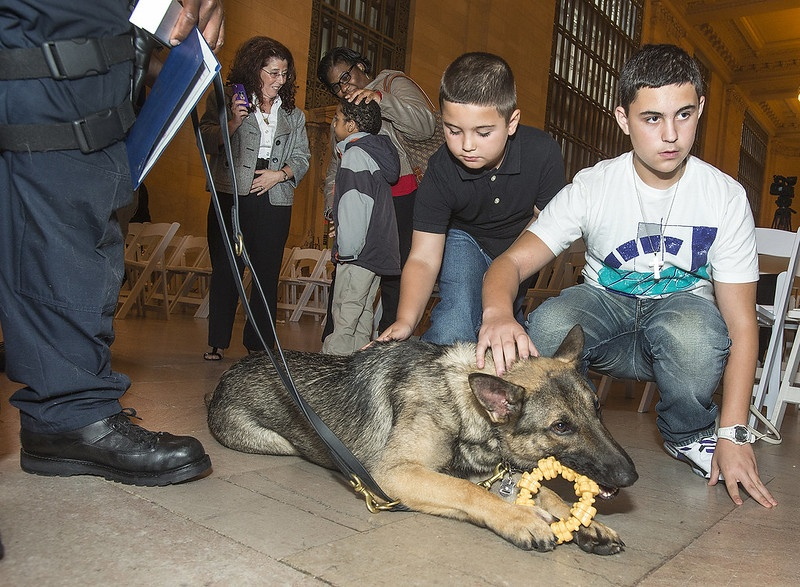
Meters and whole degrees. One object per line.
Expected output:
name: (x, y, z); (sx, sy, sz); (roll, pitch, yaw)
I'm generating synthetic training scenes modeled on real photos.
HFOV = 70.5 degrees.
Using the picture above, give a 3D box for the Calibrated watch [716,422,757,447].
Calibrated watch: (1.474, 0.617, 2.461); (0.140, 0.084, 0.148); (-11, -23, 33)

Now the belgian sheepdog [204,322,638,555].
belgian sheepdog: (-0.038, 0.549, 2.512); (1.888, 0.694, 0.720); (8, -1, 30)

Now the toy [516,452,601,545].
toy: (0.571, 0.698, 1.985); (0.077, 0.269, 0.271); (43, 14, -40)

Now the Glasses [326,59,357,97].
Glasses: (-0.484, -1.803, 4.782); (0.087, 0.282, 0.272); (45, -43, -15)
